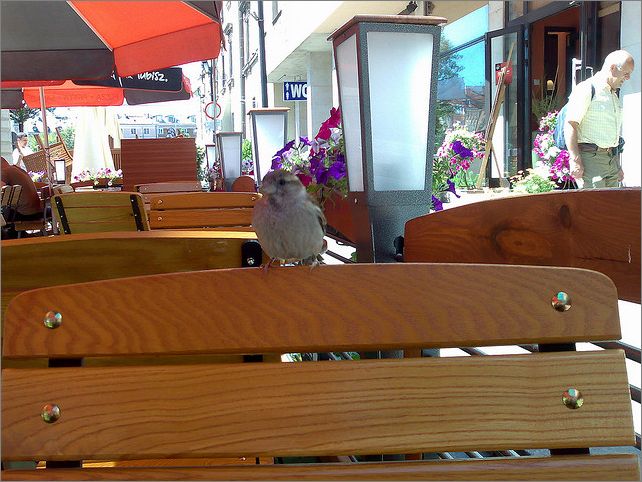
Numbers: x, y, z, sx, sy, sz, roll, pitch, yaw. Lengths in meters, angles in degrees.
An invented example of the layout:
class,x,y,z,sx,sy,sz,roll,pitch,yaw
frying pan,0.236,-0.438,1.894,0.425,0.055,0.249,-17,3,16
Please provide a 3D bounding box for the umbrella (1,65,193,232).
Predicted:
class,x,y,z,sx,sy,sz,roll,pitch,yaw
umbrella,-3.307,-1.230,7.933,3.008,2.213,2.392,-3,7,-15

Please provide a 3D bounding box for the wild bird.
class,x,y,z,sx,sy,sz,roll,pitch,yaw
wild bird,-0.069,-0.056,1.086,0.145,0.190,0.114,0,11,6

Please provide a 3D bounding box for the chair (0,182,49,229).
class,x,y,z,sx,sy,sz,roll,pitch,yaw
chair,-3.914,-0.417,6.710,0.512,0.697,1.501,-7,12,-27

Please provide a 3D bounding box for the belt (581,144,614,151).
class,x,y,z,sx,sy,sz,roll,pitch,yaw
belt,2.503,-0.870,4.653,0.138,0.028,0.125,1,3,-29

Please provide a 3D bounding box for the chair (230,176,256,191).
class,x,y,z,sx,sy,sz,roll,pitch,yaw
chair,-0.771,-0.574,5.074,0.199,0.133,0.600,-3,11,-10

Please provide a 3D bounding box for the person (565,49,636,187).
class,x,y,z,sx,sy,sz,roll,pitch,yaw
person,2.534,-1.118,4.625,0.556,1.258,0.491,2,12,16
